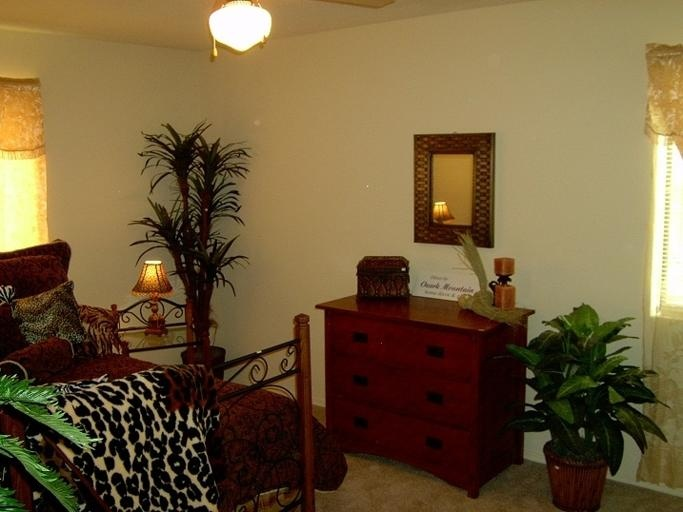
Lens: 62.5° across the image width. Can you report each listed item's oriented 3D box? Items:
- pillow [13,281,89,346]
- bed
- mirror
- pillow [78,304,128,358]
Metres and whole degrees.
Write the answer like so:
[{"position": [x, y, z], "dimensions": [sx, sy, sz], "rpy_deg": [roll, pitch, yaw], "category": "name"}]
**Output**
[{"position": [-1.998, 0.415, 3.839], "dimensions": [0.398, 0.438, 0.205], "rpy_deg": [-13, -4, -35], "category": "pillow"}, {"position": [-1.258, 0.817, 3.720], "dimensions": [2.224, 1.401, 1.406], "rpy_deg": [9, 15, 36], "category": "bed"}, {"position": [0.914, -0.537, 4.438], "dimensions": [0.801, 1.188, 0.085], "rpy_deg": [2, 3, 36], "category": "mirror"}, {"position": [-1.832, 0.541, 4.301], "dimensions": [0.319, 0.394, 0.111], "rpy_deg": [6, -24, -37], "category": "pillow"}]
